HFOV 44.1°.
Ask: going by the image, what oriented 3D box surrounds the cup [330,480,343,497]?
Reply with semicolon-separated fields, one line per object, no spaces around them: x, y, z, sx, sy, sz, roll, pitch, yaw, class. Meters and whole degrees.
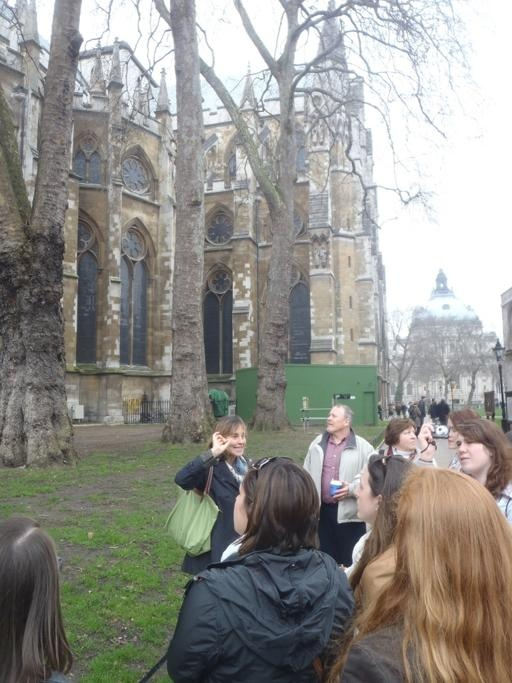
0.568;1.045;4.543;0.109;0.140;0.122;1;-13;4;cup
